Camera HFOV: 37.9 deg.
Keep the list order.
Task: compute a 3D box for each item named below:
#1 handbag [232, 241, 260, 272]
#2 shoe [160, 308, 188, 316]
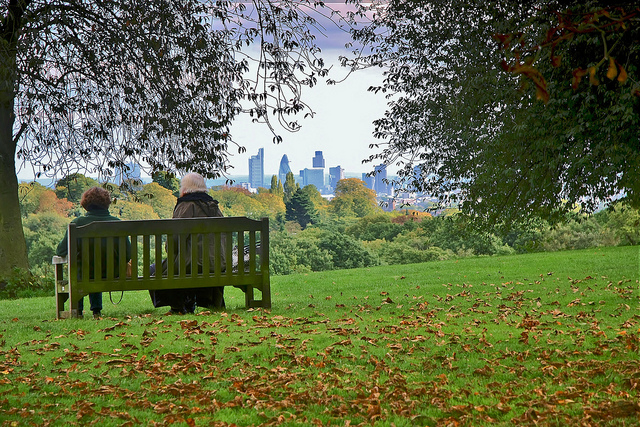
[{"bbox_3d":[-1.980,1.099,23.392,0.939,0.992,0.256,0,-1,-11],"label":"handbag"},{"bbox_3d":[-3.491,2.378,22.652,0.639,0.143,0.523,-1,0,22],"label":"shoe"}]
